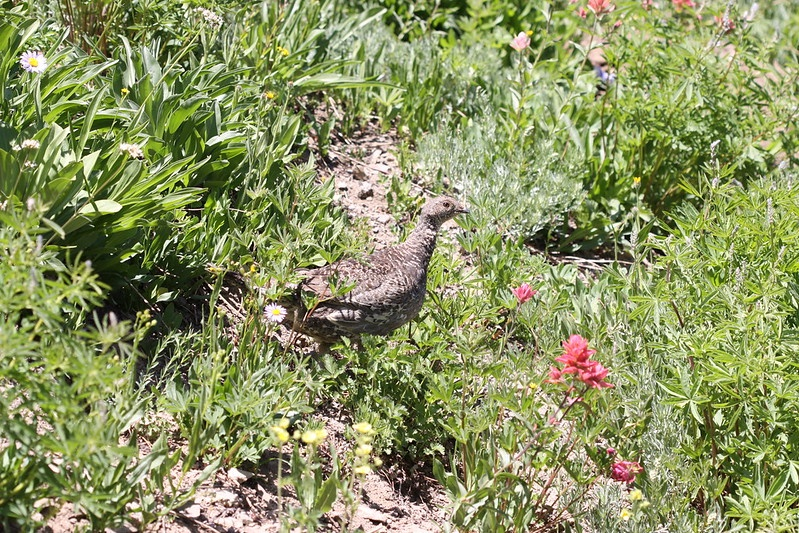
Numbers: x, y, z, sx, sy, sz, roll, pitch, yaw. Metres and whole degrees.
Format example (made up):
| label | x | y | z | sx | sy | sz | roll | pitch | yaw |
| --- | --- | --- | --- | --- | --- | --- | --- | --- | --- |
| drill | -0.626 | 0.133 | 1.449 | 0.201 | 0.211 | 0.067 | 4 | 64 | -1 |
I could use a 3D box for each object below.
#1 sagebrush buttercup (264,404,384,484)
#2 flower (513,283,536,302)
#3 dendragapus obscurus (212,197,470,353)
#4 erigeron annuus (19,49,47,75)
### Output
| label | x | y | z | sx | sy | sz | roll | pitch | yaw |
| --- | --- | --- | --- | --- | --- | --- | --- | --- | --- |
| sagebrush buttercup | -0.425 | 0.989 | 4.608 | 0.475 | 0.426 | 0.457 | -13 | 18 | -43 |
| flower | 0.777 | 0.161 | 5.158 | 0.089 | 0.082 | 0.094 | 26 | 71 | 6 |
| dendragapus obscurus | -0.406 | 0.015 | 5.641 | 1.483 | 0.687 | 1.129 | 2 | 91 | -14 |
| erigeron annuus | -2.108 | -1.154 | 4.803 | 0.172 | 0.042 | 0.178 | -2 | 55 | -26 |
